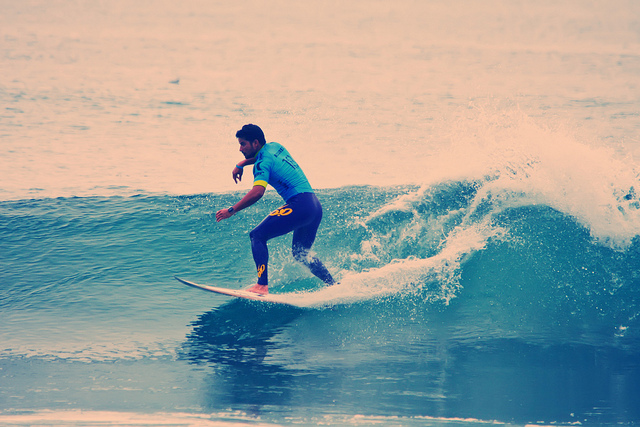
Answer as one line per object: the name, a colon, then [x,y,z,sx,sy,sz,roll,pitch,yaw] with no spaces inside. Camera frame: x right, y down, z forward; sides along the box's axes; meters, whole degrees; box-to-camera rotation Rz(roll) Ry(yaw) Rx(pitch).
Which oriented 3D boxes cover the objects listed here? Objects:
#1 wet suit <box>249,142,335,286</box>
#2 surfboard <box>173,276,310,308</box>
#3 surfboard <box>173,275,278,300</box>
wet suit: [-0.817,0.067,21.942,1.569,3.190,1.193,5,22,-5]
surfboard: [-1.748,1.827,22.486,3.985,0.236,0.489,6,23,-36]
surfboard: [-2.170,1.732,22.583,2.936,0.176,0.327,6,29,-12]
